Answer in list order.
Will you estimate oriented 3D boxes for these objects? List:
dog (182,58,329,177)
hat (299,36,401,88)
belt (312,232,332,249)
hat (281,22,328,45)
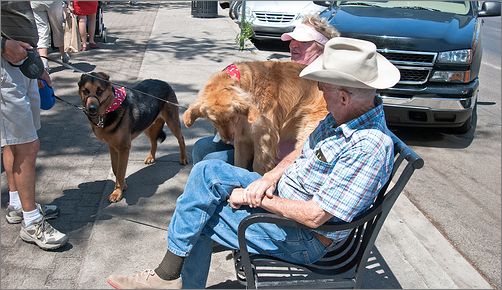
[{"bbox_3d":[0.188,-0.434,5.405,2.206,1.459,0.917,-18,23,-23],"label":"dog"},{"bbox_3d":[1.091,-0.833,3.999,0.737,0.277,0.638,8,25,17],"label":"hat"},{"bbox_3d":[0.787,1.045,4.280,0.199,0.072,0.152,47,1,6],"label":"belt"},{"bbox_3d":[0.713,-1.479,5.186,0.571,0.194,0.369,8,6,-27],"label":"hat"}]
